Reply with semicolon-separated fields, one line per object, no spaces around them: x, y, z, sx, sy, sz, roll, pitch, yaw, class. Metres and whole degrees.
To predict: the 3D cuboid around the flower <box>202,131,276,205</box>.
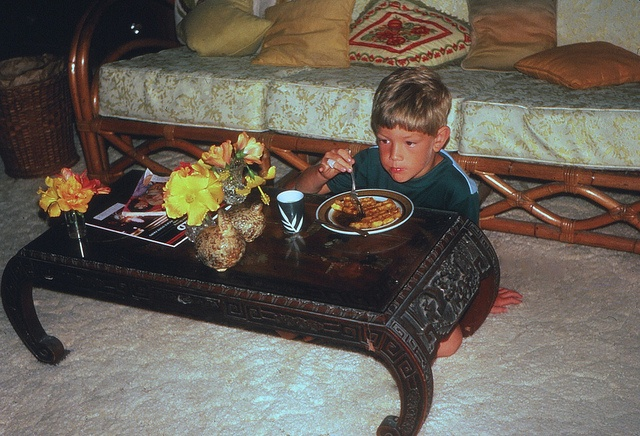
-0.340;-0.166;2.047;0.317;0.260;0.259;8;-6;0;flower

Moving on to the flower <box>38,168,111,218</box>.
-0.922;-0.113;1.908;0.240;0.088;0.228;-6;-16;-35;flower

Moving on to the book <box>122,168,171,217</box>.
-0.707;-0.087;2.139;0.202;0.028;0.199;2;43;7;book

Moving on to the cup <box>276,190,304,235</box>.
-0.076;-0.022;1.914;0.111;0.144;0.152;-3;33;6;cup

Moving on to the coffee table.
-0.234;0.316;2.017;1.594;0.727;0.860;18;39;17;coffee table

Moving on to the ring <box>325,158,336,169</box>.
0.043;-0.227;2.117;0.035;0.032;0.009;6;-1;44;ring

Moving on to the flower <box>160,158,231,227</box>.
-0.437;-0.084;1.774;0.233;0.205;0.100;-16;5;-8;flower
